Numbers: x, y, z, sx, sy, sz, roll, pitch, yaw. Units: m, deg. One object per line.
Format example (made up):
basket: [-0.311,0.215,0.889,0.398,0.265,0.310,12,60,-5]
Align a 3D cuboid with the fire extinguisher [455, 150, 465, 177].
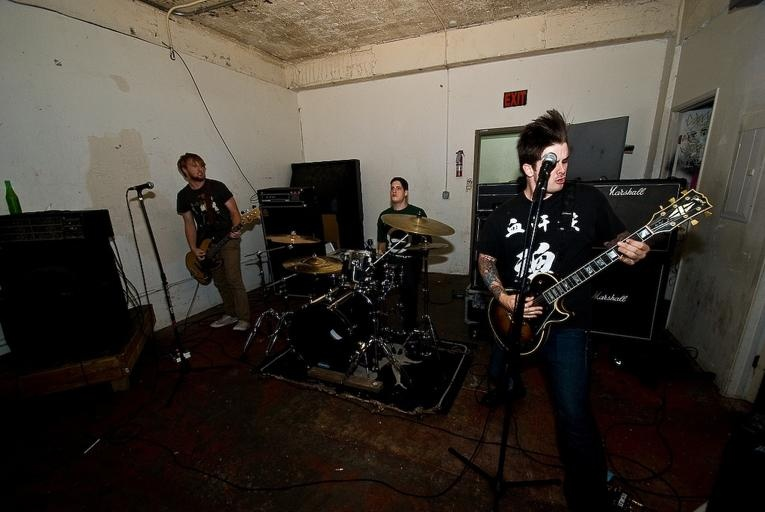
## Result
fire extinguisher: [1.139,-1.367,7.028,0.131,0.390,0.049,1,16,9]

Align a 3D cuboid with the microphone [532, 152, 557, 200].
microphone: [1.251,-0.619,3.744,0.144,0.409,0.144,10,6,7]

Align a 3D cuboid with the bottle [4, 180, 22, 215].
bottle: [-3.702,-0.583,4.751,0.120,0.334,0.583,-14,20,-37]

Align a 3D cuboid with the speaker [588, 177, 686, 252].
speaker: [2.380,-0.390,4.437,0.757,0.770,0.271,0,5,23]

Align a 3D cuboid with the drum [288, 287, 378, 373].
drum: [-0.499,0.701,5.161,0.937,0.955,0.735,12,27,20]

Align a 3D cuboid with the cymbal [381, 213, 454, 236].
cymbal: [0.363,-0.295,5.054,0.734,0.257,0.472,-1,16,-2]

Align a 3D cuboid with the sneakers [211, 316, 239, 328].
sneakers: [-2.014,0.832,6.059,0.353,0.139,0.128,0,6,-25]

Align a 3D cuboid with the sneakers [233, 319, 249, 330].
sneakers: [-1.744,0.868,5.939,0.108,0.076,0.189,2,-4,2]

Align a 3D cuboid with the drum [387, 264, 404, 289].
drum: [0.132,0.216,5.160,0.195,0.210,0.193,-12,20,-23]
